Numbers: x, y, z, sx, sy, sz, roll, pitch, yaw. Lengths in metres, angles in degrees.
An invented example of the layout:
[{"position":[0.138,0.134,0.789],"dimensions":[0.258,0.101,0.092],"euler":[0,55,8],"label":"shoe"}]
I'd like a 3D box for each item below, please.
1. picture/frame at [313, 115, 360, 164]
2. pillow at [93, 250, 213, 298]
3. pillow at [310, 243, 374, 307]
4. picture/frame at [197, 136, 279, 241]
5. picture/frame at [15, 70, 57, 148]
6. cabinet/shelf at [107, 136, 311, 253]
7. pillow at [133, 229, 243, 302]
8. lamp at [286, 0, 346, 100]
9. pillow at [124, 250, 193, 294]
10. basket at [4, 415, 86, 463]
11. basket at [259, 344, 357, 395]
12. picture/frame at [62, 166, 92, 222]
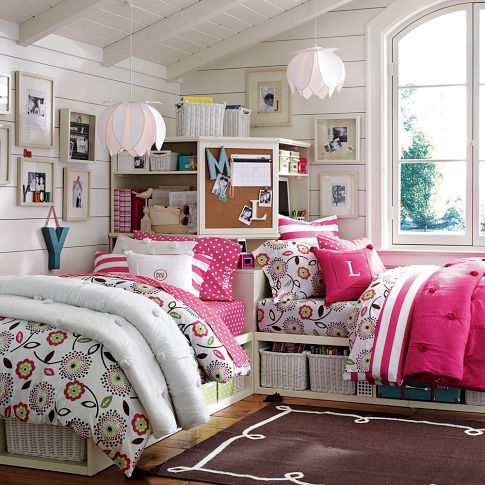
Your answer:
[{"position":[0.775,-0.836,3.952],"dimensions":[0.445,0.404,0.033],"euler":[0,2,21],"label":"picture/frame"},{"position":[-0.535,0.127,3.060],"dimensions":[0.742,0.266,0.249],"euler":[-2,-8,-11],"label":"pillow"},{"position":[0.666,0.186,3.130],"dimensions":[0.481,0.353,0.173],"euler":[-1,0,-33],"label":"pillow"},{"position":[-0.055,-0.370,3.454],"dimensions":[0.829,0.885,0.088],"euler":[1,-2,-9],"label":"picture/frame"},{"position":[-1.241,-0.780,2.923],"dimensions":[0.038,0.427,0.300],"euler":[2,5,22],"label":"picture/frame"},{"position":[-0.158,-0.148,3.720],"dimensions":[1.554,1.274,0.475],"euler":[0,11,-3],"label":"cabinet/shelf"},{"position":[-0.290,0.098,2.964],"dimensions":[0.602,0.425,0.167],"euler":[-3,-21,25],"label":"pillow"},{"position":[0.466,-1.098,3.128],"dimensions":[0.357,0.316,0.291],"euler":[1,5,6],"label":"lamp"},{"position":[-0.489,0.176,2.853],"dimensions":[0.418,0.265,0.110],"euler":[1,6,6],"label":"pillow"},{"position":[-0.763,0.755,1.917],"dimensions":[0.284,0.107,0.174],"euler":[1,-4,8],"label":"basket"},{"position":[0.419,0.792,3.026],"dimensions":[0.462,0.188,0.448],"euler":[0,-1,21],"label":"basket"},{"position":[-1.112,-0.321,3.275],"dimensions":[0.050,0.343,0.251],"euler":[2,5,17],"label":"picture/frame"}]
